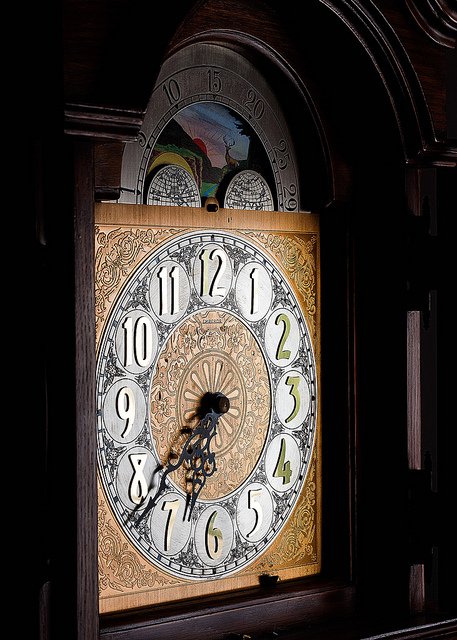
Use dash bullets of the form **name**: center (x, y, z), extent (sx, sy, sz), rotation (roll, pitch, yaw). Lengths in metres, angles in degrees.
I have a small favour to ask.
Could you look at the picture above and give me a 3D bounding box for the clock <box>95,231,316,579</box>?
- **clock**: center (-0.046, 0.126, 1.651), extent (0.426, 0.036, 0.629), rotation (2, 87, -49)
